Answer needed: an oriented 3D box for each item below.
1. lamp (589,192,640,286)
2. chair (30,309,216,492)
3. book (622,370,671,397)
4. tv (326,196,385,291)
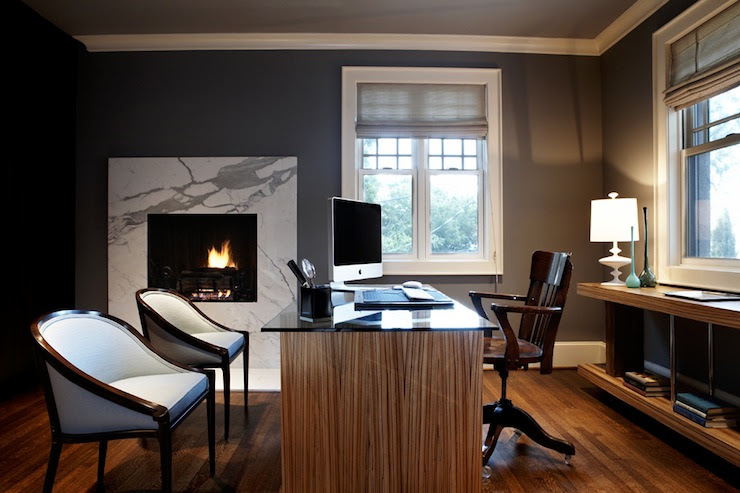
[{"bbox_3d":[2.315,-0.091,5.045,0.412,0.836,0.615,1,4,26],"label":"lamp"},{"bbox_3d":[-1.701,1.195,4.257,1.183,1.727,1.291,-1,-3,6],"label":"chair"},{"bbox_3d":[2.305,1.156,4.466,0.245,0.064,0.258,1,2,6],"label":"book"},{"bbox_3d":[-0.131,-0.023,4.591,0.086,0.796,0.870,-2,-3,31],"label":"tv"}]
